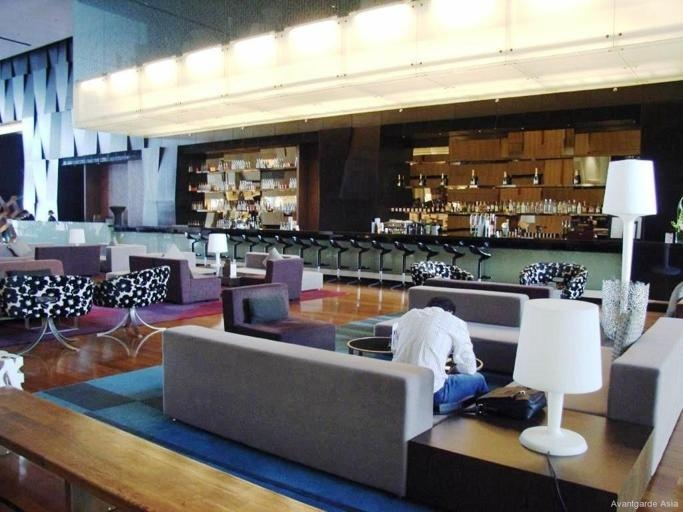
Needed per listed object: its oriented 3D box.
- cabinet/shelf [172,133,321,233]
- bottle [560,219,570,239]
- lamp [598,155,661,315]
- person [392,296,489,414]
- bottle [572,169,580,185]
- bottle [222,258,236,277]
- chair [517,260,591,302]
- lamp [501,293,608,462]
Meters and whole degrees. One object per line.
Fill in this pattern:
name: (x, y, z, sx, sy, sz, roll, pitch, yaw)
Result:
cabinet/shelf: (-2.801, -2.042, 16.054, 4.342, 2.736, 0.665, 0, -3, 12)
bottle: (4.651, -0.558, 11.144, 0.111, 0.442, 0.157, 8, -15, -1)
lamp: (2.257, -0.217, 4.297, 0.509, 1.100, 0.375, -14, 15, -40)
person: (0.750, 0.879, 4.110, 0.625, 1.194, 0.736, 3, 1, 38)
bottle: (5.108, -1.707, 11.645, 0.173, 0.306, 0.154, 0, 12, 23)
bottle: (-2.265, 0.235, 10.801, 0.094, 0.294, 0.286, -5, 9, -39)
chair: (3.169, 0.492, 8.062, 0.850, 0.746, 0.715, 4, 7, 32)
lamp: (1.234, 0.674, 3.077, 0.469, 0.838, 0.489, -1, 4, -36)
